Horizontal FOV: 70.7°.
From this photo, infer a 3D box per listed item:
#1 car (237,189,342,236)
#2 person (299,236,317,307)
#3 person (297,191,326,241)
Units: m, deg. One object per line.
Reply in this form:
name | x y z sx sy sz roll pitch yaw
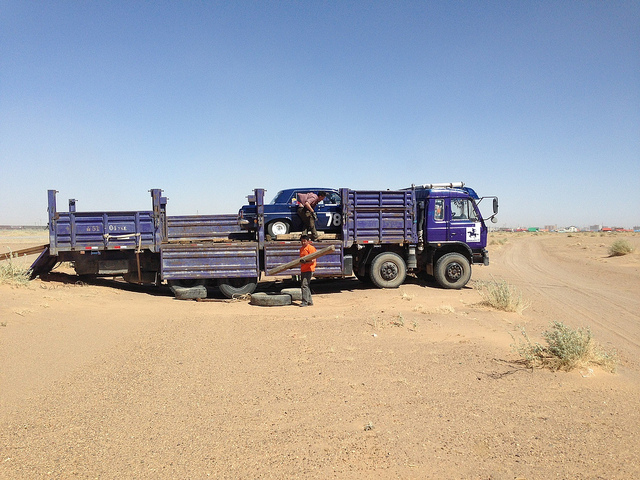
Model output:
car | -0.972 -0.931 15.749 3.377 1.331 1.704 -4 5 -11
person | -0.392 0.948 13.029 0.445 1.936 0.776 -1 13 -1
person | -0.326 -0.779 15.159 0.918 1.526 1.957 0 14 1
